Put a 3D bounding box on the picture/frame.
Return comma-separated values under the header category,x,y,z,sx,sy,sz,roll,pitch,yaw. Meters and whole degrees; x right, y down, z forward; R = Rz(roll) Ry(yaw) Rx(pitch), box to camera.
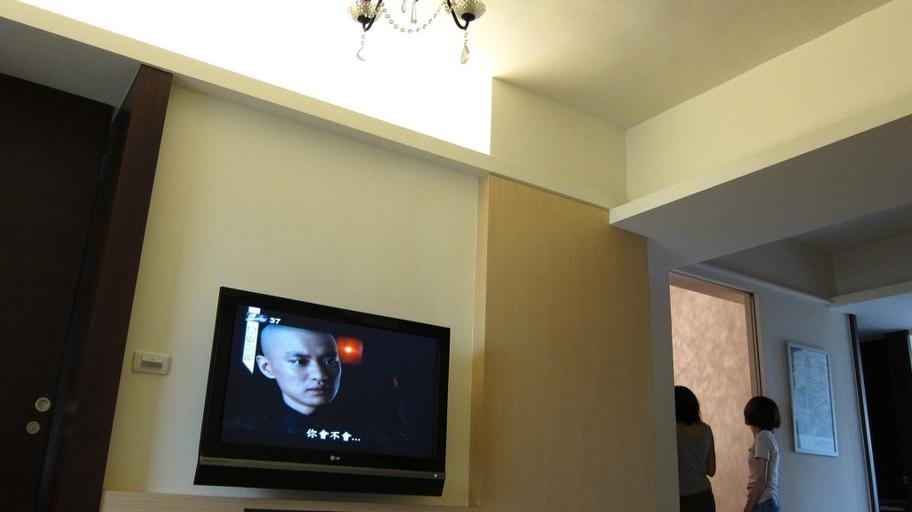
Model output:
category,x,y,z,sx,sy,sz,roll,pitch,yaw
picture/frame,4.063,1.648,7.278,0.729,1.189,0.208,17,-23,-33
